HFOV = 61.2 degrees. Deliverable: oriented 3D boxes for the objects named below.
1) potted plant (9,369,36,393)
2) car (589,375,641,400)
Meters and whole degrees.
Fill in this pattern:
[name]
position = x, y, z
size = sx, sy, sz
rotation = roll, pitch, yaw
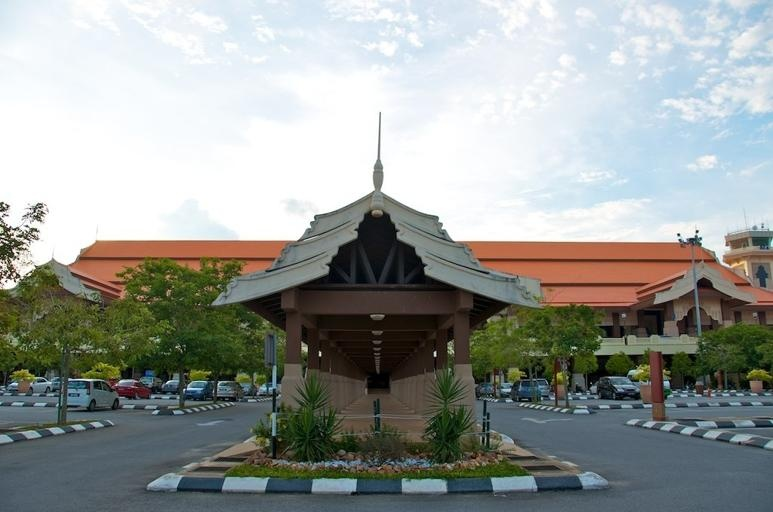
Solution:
[potted plant]
position = -29.084, 9.785, 51.267
size = 2.024, 1.858, 1.918
rotation = -2, -12, -3
[car]
position = 17.338, 9.975, 49.332
size = 1.899, 1.803, 3.265
rotation = 2, -14, -14
